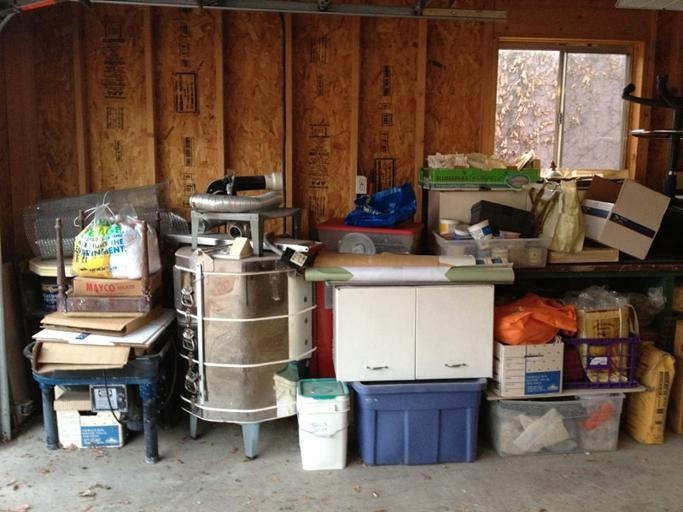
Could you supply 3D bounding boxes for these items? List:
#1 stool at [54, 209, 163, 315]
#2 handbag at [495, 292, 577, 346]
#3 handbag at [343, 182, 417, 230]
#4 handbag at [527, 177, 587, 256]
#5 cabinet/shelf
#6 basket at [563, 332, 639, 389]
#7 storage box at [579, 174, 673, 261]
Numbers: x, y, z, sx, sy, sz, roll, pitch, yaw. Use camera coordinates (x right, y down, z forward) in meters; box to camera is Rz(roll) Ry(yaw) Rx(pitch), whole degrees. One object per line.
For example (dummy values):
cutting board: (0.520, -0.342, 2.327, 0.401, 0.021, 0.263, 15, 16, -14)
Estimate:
stool: (-1.316, 0.003, 3.824, 0.587, 0.512, 0.464, 1, 15, 1)
handbag: (1.111, 0.367, 3.749, 0.338, 0.105, 0.313, -2, 9, -3)
handbag: (0.284, -0.301, 4.151, 0.291, 0.149, 0.393, 13, 25, 39)
handbag: (1.277, -0.214, 3.878, 0.264, 0.431, 0.474, -11, 4, -7)
cabinet/shelf: (0.342, 0.437, 3.887, 0.992, 0.524, 0.501, 1, 0, -18)
basket: (1.492, 0.590, 3.777, 0.377, 0.197, 0.352, -1, -2, 7)
storage box: (1.667, -0.194, 4.095, 0.538, 0.486, 0.522, 25, 4, 13)
